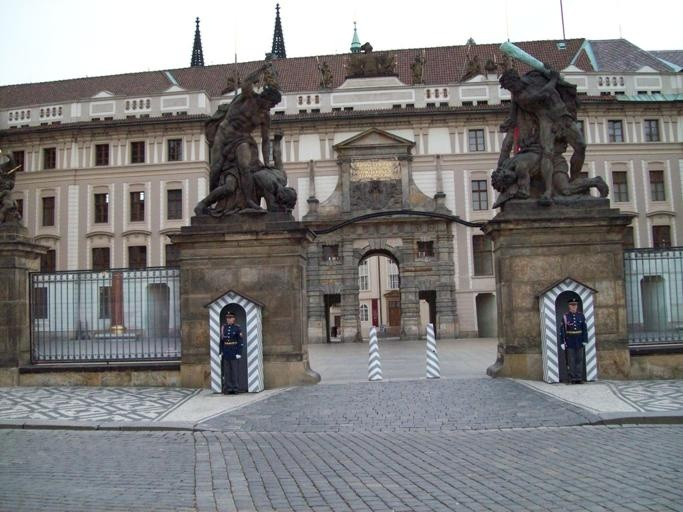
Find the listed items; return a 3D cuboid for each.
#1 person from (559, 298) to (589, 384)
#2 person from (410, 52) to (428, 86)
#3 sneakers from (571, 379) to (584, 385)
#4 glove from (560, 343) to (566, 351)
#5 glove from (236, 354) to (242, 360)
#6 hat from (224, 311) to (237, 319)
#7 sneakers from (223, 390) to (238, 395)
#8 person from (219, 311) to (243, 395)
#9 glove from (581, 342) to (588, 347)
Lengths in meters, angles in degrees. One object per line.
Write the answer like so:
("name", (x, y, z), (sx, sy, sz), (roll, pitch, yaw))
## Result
("person", (5.238, 1.937, 18.849), (0.617, 1.849, 0.468), (0, 6, 15))
("person", (4.541, -11.099, 48.957), (0.964, 2.083, 0.689), (5, 39, 23))
("sneakers", (5.266, 2.842, 18.760), (0.305, 0.125, 0.102), (-2, -3, -1))
("glove", (4.995, 2.064, 18.863), (0.114, 0.150, 0.060), (-2, 0, 39))
("glove", (-2.350, 2.280, 18.855), (0.158, 0.076, 0.200), (-1, -9, 4))
("hat", (-2.574, 1.393, 19.027), (0.184, 0.174, 0.197), (1, -18, 1))
("sneakers", (-2.503, 3.090, 18.842), (0.271, 0.113, 0.098), (3, -39, 4))
("person", (-2.516, 2.207, 18.897), (0.484, 1.788, 0.384), (-2, 6, -10))
("glove", (5.475, 1.999, 18.839), (0.134, 0.101, 0.105), (17, -14, -5))
